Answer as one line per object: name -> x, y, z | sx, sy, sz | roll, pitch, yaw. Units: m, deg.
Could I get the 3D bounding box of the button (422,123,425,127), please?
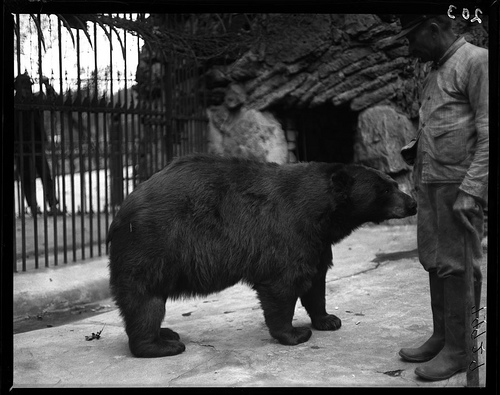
button -> 1.388, -0.582, 5.823 | 0.014, 0.012, 0.021 | -9, 29, 9

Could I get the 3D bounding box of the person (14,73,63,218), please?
person -> -2.295, -0.564, 7.931 | 0.527, 1.592, 0.875 | -6, 8, -17

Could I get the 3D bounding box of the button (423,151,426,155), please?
button -> 1.391, -0.361, 5.804 | 0.009, 0.030, 0.027 | -9, 10, -34
